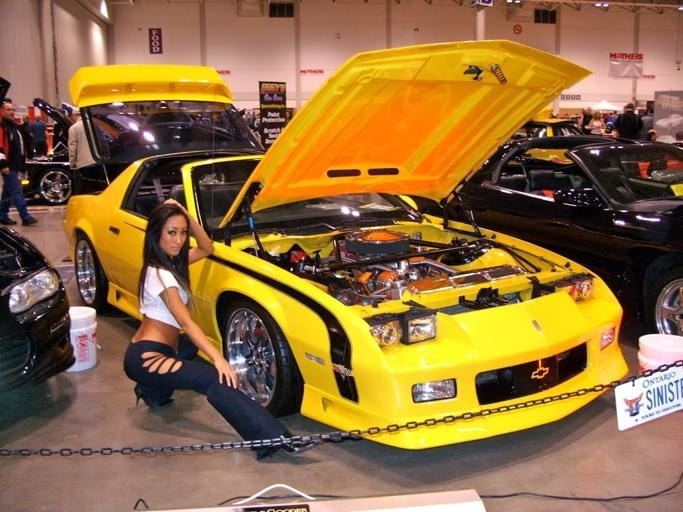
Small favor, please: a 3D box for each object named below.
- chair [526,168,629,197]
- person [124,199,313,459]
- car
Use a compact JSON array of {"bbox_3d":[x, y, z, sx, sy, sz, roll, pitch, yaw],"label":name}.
[{"bbox_3d":[2.607,-0.786,5.629,0.813,0.220,0.477,1,12,15],"label":"chair"},{"bbox_3d":[-0.993,0.387,3.011,0.543,1.380,0.995,-13,17,-35],"label":"person"},{"bbox_3d":[-0.224,-0.400,4.416,2.747,1.802,4.695,-10,15,-41],"label":"car"}]
